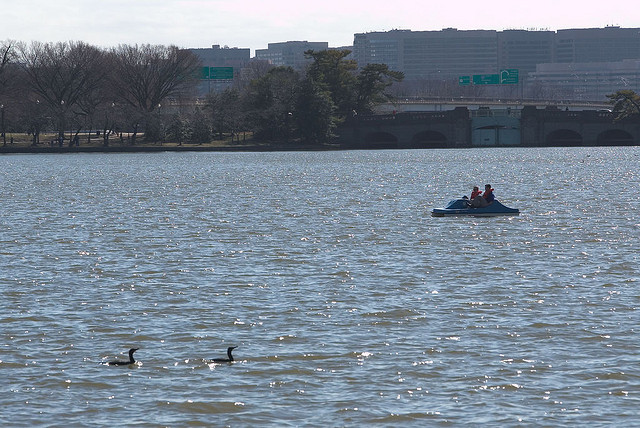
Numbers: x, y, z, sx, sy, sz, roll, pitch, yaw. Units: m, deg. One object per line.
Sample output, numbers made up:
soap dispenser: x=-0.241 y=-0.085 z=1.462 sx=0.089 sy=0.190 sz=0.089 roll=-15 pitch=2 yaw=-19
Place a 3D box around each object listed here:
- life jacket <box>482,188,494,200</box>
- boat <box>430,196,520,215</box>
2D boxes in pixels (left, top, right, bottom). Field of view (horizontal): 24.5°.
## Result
life jacket: x=13.013 y=-1.749 z=115.144 sx=0.624 sy=0.709 sz=0.807 roll=2 pitch=7 yaw=6
boat: x=11.987 y=-0.798 z=114.954 sx=5.361 sy=1.331 sz=1.325 roll=1 pitch=8 yaw=5
